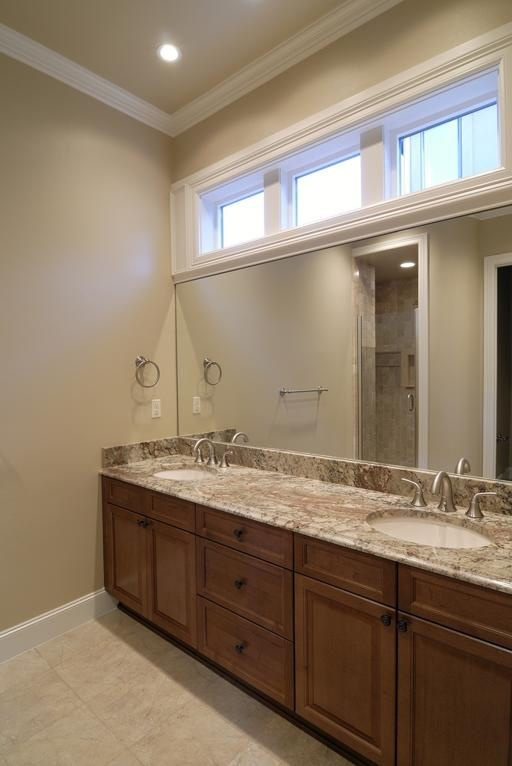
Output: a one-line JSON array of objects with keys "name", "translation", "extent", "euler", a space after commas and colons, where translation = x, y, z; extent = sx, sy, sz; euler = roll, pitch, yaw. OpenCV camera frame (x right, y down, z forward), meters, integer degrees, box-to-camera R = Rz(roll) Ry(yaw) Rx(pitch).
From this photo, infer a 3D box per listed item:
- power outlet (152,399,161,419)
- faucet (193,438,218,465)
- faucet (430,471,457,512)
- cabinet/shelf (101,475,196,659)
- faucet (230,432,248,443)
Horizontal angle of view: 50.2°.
[{"name": "power outlet", "translation": [-0.556, 0.138, 3.020], "extent": [0.014, 0.145, 0.095], "euler": [2, 1, 29]}, {"name": "faucet", "translation": [-0.269, 0.358, 2.850], "extent": [0.069, 0.133, 0.195], "euler": [-1, 3, 7]}, {"name": "faucet", "translation": [0.633, 0.359, 1.827], "extent": [0.074, 0.133, 0.188], "euler": [1, 5, 21]}, {"name": "cabinet/shelf", "translation": [-0.465, 0.811, 2.405], "extent": [0.246, 0.598, 0.596], "euler": [-2, 4, -43]}, {"name": "faucet", "translation": [-0.084, 0.275, 2.740], "extent": [0.106, 0.082, 0.032], "euler": [-9, -12, 42]}]
